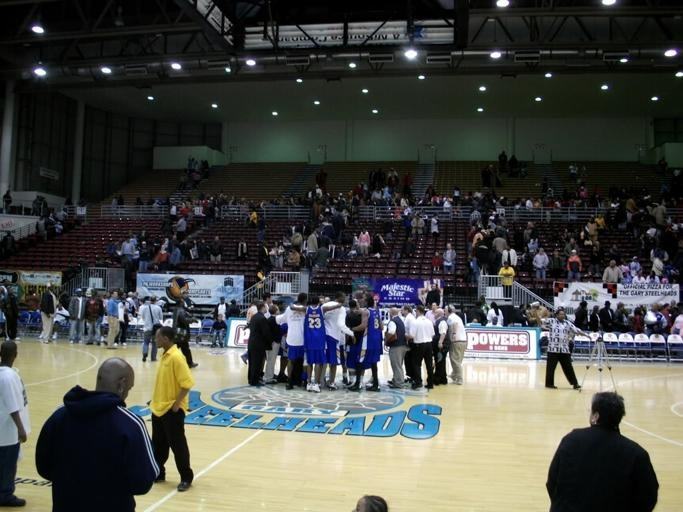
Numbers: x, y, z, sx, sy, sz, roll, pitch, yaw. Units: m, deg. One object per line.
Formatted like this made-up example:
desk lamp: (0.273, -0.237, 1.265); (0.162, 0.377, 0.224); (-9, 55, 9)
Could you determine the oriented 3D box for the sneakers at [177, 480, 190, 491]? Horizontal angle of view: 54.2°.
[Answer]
sneakers: (-2.423, 3.533, 10.265); (0.201, 0.121, 0.145); (-1, 8, -12)
